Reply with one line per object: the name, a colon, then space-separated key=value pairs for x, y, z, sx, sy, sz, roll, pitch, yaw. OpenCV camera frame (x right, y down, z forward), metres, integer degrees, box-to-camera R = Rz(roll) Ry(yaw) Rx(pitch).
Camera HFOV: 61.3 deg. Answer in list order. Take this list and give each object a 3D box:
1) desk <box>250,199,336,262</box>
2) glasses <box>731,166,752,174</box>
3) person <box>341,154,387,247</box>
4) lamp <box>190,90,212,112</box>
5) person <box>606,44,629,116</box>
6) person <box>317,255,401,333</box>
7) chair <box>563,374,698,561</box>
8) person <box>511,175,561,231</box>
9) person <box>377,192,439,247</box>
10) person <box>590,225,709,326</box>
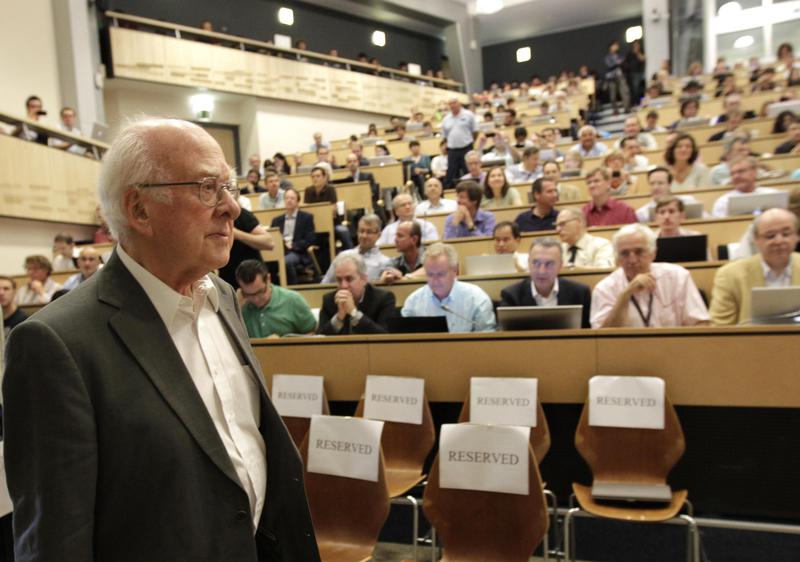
desk: x=-1.343 y=-0.537 z=8.138 sx=1.066 sy=0.783 sz=0.379 roll=-1 pitch=-14 yaw=-8
glasses: x=2.945 y=-0.954 z=5.769 sx=0.173 sy=0.066 sz=0.062 roll=-2 pitch=6 yaw=15
person: x=-0.604 y=-1.112 z=9.748 sx=0.597 sy=1.528 sz=0.767 roll=-9 pitch=-1 yaw=4
lamp: x=-4.249 y=-3.858 z=14.482 sx=0.361 sy=0.287 sz=0.374 roll=-5 pitch=12 yaw=-27
person: x=5.135 y=-4.815 z=15.872 sx=0.556 sy=1.766 sz=1.293 roll=-2 pitch=6 yaw=11
person: x=-0.284 y=0.109 z=4.919 sx=0.417 sy=0.818 sz=0.395 roll=-5 pitch=-16 yaw=14
chair: x=1.039 y=0.764 z=3.081 sx=0.491 sy=0.604 sz=0.420 roll=-1 pitch=6 yaw=20
person: x=1.406 y=-0.728 z=6.638 sx=0.641 sy=0.574 sz=0.349 roll=3 pitch=5 yaw=-9
person: x=0.051 y=-0.575 z=7.072 sx=0.663 sy=0.644 sz=0.411 roll=-5 pitch=-7 yaw=-7
person: x=1.634 y=-0.014 z=4.341 sx=0.480 sy=0.781 sz=0.383 roll=-13 pitch=-18 yaw=34
